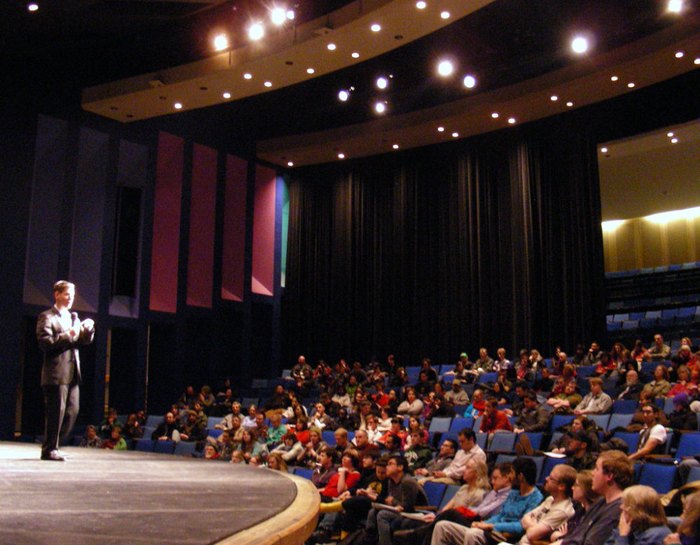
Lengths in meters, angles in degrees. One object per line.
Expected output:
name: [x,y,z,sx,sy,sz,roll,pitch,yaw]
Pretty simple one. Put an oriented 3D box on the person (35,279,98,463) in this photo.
person: [-2.065,0.674,4.273,0.374,1.294,0.537,3,-10,-28]
